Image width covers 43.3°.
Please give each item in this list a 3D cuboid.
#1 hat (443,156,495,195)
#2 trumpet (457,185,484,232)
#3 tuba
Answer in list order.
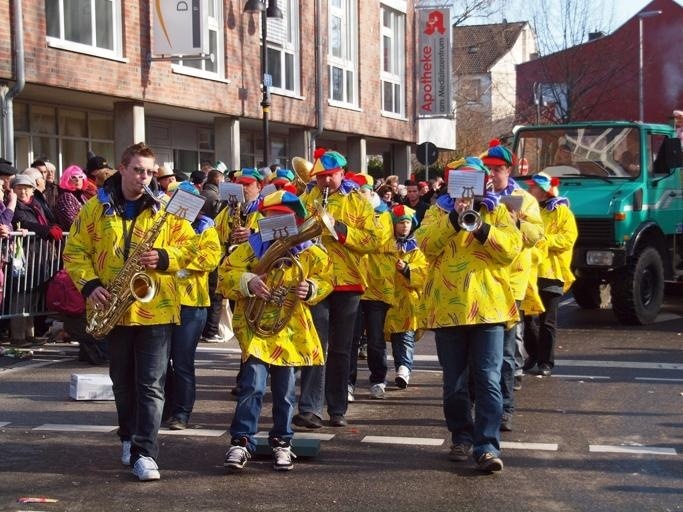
[{"bbox_3d":[1.035,-0.709,7.039,0.341,0.296,0.339,0,-2,14],"label":"hat"},{"bbox_3d":[0.999,-0.376,6.767,0.136,0.136,0.306,-16,30,11],"label":"trumpet"},{"bbox_3d":[-0.384,0.087,7.093,0.554,1.010,0.730,2,5,6],"label":"tuba"}]
